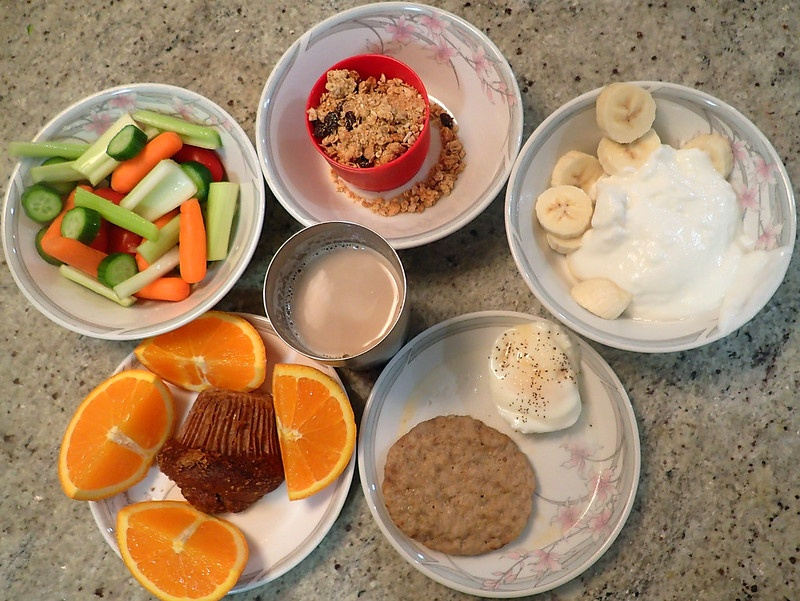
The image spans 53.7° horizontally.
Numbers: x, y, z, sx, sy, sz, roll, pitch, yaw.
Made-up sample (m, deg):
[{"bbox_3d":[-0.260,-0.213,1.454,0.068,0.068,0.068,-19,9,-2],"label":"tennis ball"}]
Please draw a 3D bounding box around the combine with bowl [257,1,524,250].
[{"bbox_3d":[-0.026,-0.502,2.303,0.749,0.201,0.685,13,85,2],"label":"combine with bowl"}]

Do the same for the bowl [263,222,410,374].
[{"bbox_3d":[-0.162,-0.025,2.364,0.358,0.315,0.438,-18,82,8],"label":"bowl"}]

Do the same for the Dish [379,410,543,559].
[{"bbox_3d":[0.164,0.528,2.252,0.427,0.042,0.382,18,85,2],"label":"Dish"}]

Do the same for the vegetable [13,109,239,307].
[{"bbox_3d":[-0.764,-0.250,2.374,0.541,0.230,0.607,35,93,4],"label":"vegetable"}]

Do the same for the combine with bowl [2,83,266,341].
[{"bbox_3d":[-0.758,-0.252,2.277,0.760,0.111,0.717,-12,85,0],"label":"combine with bowl"}]
